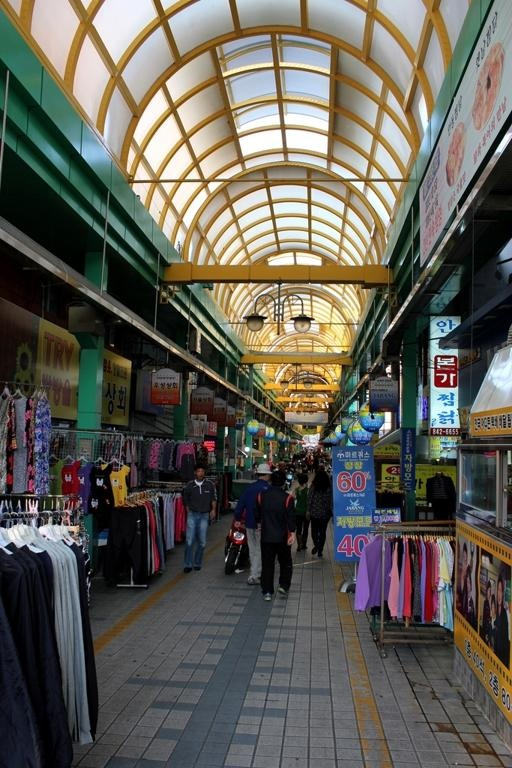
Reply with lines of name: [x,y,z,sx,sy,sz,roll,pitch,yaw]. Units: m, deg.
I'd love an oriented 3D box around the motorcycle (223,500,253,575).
motorcycle: [-0.313,2.662,7.269,0.394,0.759,1.144,2,-12,7]

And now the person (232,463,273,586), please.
person: [-0.106,2.357,7.016,0.442,0.980,1.420,2,-6,17]

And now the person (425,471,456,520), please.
person: [3.531,2.142,8.722,0.507,0.876,0.611,-3,-13,22]

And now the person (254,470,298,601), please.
person: [0.251,1.979,6.053,0.492,1.637,0.643,1,-11,1]

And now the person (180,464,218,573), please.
person: [-0.945,2.190,7.345,0.504,1.621,0.938,3,-12,-7]
